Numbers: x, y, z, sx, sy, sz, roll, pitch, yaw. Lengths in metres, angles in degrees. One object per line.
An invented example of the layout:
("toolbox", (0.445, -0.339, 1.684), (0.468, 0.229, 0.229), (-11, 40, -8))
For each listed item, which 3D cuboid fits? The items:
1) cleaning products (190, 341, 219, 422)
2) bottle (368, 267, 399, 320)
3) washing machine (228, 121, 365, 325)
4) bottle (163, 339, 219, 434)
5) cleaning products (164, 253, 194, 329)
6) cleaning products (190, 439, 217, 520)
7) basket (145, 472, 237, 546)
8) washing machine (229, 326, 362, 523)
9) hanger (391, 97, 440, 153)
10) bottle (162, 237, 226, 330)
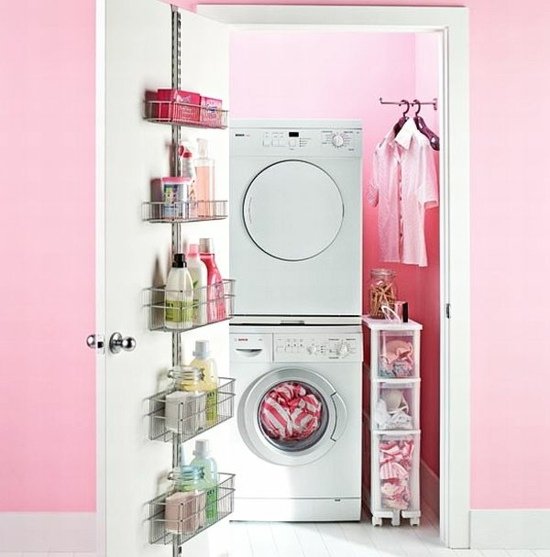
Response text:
("cleaning products", (-0.247, 0.370, 1.970), (0.077, 0.304, 0.088), (-11, -10, 8))
("bottle", (0.542, 0.075, 3.000), (0.130, 0.241, 0.139), (-2, 4, 0))
("washing machine", (0.113, -0.258, 3.097), (0.707, 1.297, 0.763), (0, 1, -3))
("bottle", (-0.279, 0.357, 1.907), (0.105, 0.303, 0.285), (0, 2, 13))
("cleaning products", (-0.300, 0.051, 1.834), (0.090, 0.185, 0.178), (5, -39, -8))
("cleaning products", (-0.219, 0.702, 1.964), (0.061, 0.233, 0.079), (-12, -18, 6))
("basket", (-0.276, 0.732, 1.890), (0.297, 0.125, 0.103), (-16, -14, 19))
("washing machine", (0.070, 0.582, 3.032), (0.618, 1.072, 0.655), (1, 22, 3))
("hanger", (0.717, -0.772, 2.985), (0.078, 0.238, 0.315), (-9, 20, -29))
("bottle", (-0.273, 0.019, 1.911), (0.087, 0.283, 0.280), (-1, 3, 13))
